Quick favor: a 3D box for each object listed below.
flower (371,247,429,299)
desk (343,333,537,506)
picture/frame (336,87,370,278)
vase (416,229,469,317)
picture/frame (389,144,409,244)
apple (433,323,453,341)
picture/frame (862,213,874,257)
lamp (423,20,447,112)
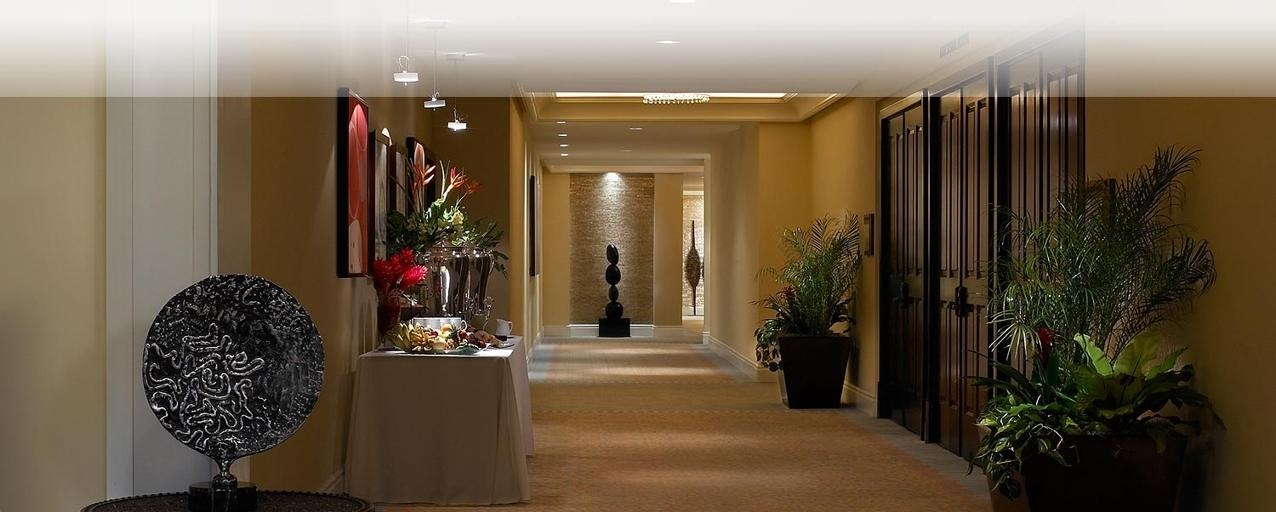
[{"bbox_3d":[-2.307,0.172,6.706,0.484,0.453,0.183,4,5,-13],"label":"flower"},{"bbox_3d":[-1.773,1.549,6.745,1.750,0.868,2.148,1,0,-3],"label":"desk"},{"bbox_3d":[-2.652,-0.656,6.465,0.241,1.686,0.522,7,5,2],"label":"picture/frame"},{"bbox_3d":[-1.970,0.226,6.853,0.499,0.696,0.288,8,5,29],"label":"vase"},{"bbox_3d":[-2.562,-0.825,7.431,0.164,0.708,0.587,5,4,-13],"label":"picture/frame"},{"bbox_3d":[-1.782,0.699,6.426,0.219,0.112,0.144,6,-1,14],"label":"apple"},{"bbox_3d":[3.056,-0.289,9.159,0.083,0.547,0.292,6,4,-9],"label":"picture/frame"},{"bbox_3d":[-2.210,-2.033,7.557,0.282,0.829,0.263,-18,39,-40],"label":"lamp"}]
